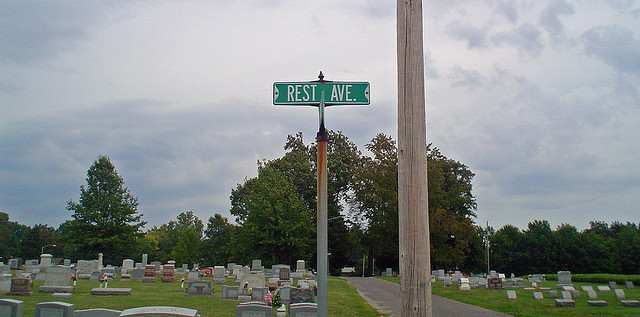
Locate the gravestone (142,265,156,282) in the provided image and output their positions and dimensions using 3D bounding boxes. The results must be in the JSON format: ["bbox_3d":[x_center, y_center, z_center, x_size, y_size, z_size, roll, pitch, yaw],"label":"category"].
[{"bbox_3d":[-31.488,21.136,102.637,2.137,3.219,1.081,-5,-20,6],"label":"gravestone"}]

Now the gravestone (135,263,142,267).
[{"bbox_3d":[-35.007,20.398,107.024,1.404,0.982,0.681,0,0,-2],"label":"gravestone"}]

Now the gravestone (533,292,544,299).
[{"bbox_3d":[37.146,23.102,93.873,1.444,1.106,0.586,-3,-19,-1],"label":"gravestone"}]

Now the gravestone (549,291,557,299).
[{"bbox_3d":[39.718,22.983,94.284,1.759,1.298,0.848,0,1,-2],"label":"gravestone"}]

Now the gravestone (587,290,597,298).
[{"bbox_3d":[45.713,22.653,92.947,1.616,1.122,0.472,0,-10,-5],"label":"gravestone"}]

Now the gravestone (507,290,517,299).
[{"bbox_3d":[32.804,23.074,94.207,1.426,1.306,0.654,-1,-19,-5],"label":"gravestone"}]

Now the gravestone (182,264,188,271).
[{"bbox_3d":[-28.473,23.102,116.950,1.031,0.831,1.731,1,5,-8],"label":"gravestone"}]

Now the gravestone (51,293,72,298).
[{"bbox_3d":[-41.919,22.385,90.105,1.382,0.253,1.153,1,-2,-5],"label":"gravestone"}]

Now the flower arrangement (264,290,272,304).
[{"bbox_3d":[-8.306,22.024,88.399,1.482,1.642,1.330,1,-12,-39],"label":"flower arrangement"}]

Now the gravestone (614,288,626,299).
[{"bbox_3d":[50.599,22.652,93.374,1.695,1.374,0.575,2,-5,5],"label":"gravestone"}]

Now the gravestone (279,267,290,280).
[{"bbox_3d":[-6.329,20.777,100.731,2.643,2.324,0.920,1,-5,0],"label":"gravestone"}]

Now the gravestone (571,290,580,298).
[{"bbox_3d":[43.336,22.724,93.623,0.931,1.293,1.497,-16,-22,34],"label":"gravestone"}]

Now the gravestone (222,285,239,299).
[{"bbox_3d":[-14.736,21.891,91.242,2.468,2.215,0.777,0,-20,-8],"label":"gravestone"}]

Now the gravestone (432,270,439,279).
[{"bbox_3d":[24.926,24.570,118.861,1.296,1.041,0.822,1,-16,-1],"label":"gravestone"}]
